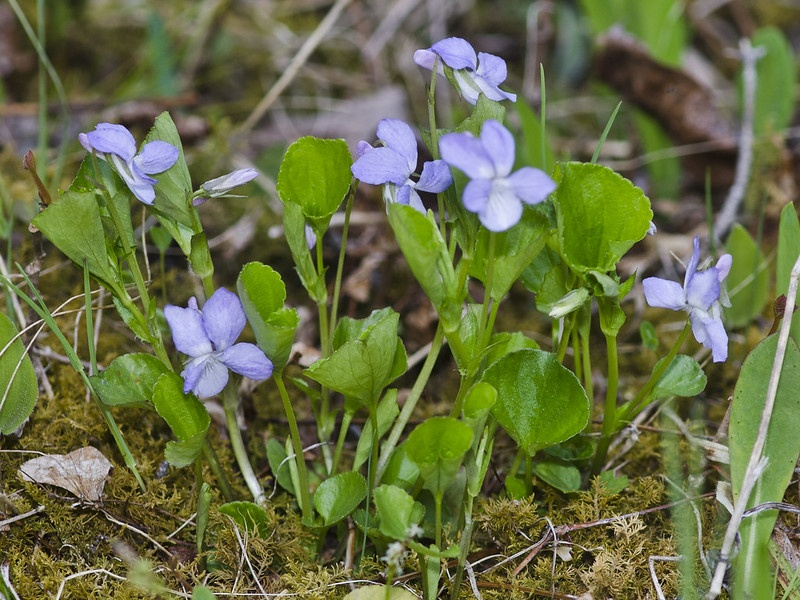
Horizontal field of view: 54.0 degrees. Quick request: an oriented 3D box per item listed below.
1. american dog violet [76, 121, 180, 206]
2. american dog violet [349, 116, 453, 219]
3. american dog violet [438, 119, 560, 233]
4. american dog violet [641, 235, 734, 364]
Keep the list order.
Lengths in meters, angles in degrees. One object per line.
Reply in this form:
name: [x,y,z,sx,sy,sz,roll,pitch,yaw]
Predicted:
american dog violet: [-0.680,-0.350,1.999,0.229,0.191,0.145,14,47,7]
american dog violet: [-0.004,-0.332,1.949,0.223,0.111,0.255,-12,54,-28]
american dog violet: [0.211,-0.281,1.795,0.247,0.074,0.263,-28,91,-34]
american dog violet: [0.763,-0.002,2.037,0.151,0.292,0.257,-22,35,-30]
